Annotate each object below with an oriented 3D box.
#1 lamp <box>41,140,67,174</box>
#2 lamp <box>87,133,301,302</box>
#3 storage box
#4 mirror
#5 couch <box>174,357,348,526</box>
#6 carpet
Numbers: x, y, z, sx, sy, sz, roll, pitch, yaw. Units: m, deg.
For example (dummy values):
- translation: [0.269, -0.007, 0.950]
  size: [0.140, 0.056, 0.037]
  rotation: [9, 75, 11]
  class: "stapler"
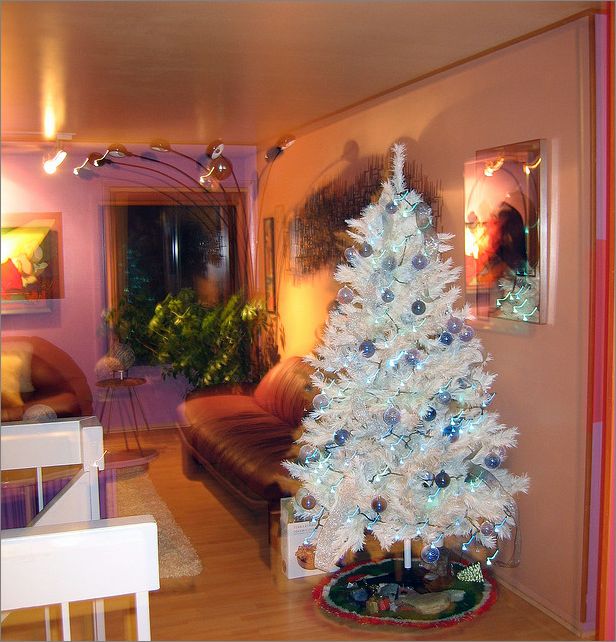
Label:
- translation: [-1.011, -0.643, 2.327]
  size: [0.119, 0.073, 0.028]
  rotation: [-47, 20, -16]
  class: "lamp"
- translation: [-0.499, -0.548, 2.662]
  size: [0.807, 0.638, 0.410]
  rotation: [-4, 7, -10]
  class: "lamp"
- translation: [-0.049, 0.857, 2.308]
  size: [0.132, 0.301, 0.270]
  rotation: [-6, 4, -40]
  class: "storage box"
- translation: [0.714, -0.316, 2.127]
  size: [0.030, 0.650, 0.401]
  rotation: [-5, 3, -24]
  class: "mirror"
- translation: [-0.186, 0.449, 2.654]
  size: [0.546, 0.454, 0.756]
  rotation: [-10, 21, -34]
  class: "couch"
- translation: [-0.620, 0.809, 2.357]
  size: [0.235, 0.354, 0.404]
  rotation: [-5, 4, -36]
  class: "carpet"
